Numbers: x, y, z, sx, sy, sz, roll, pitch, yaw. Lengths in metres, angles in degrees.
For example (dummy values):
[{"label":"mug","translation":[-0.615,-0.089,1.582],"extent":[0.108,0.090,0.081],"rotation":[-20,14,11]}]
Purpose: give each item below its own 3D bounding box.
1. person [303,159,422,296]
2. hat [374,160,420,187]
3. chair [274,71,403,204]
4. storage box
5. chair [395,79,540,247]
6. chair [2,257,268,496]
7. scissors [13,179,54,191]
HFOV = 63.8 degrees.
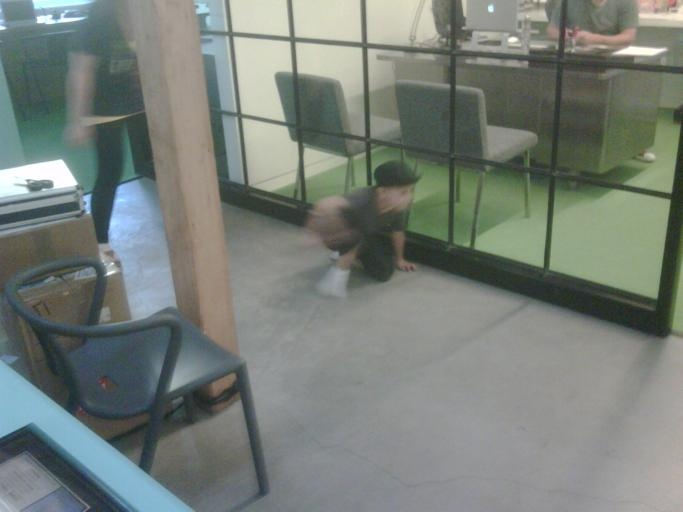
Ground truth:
[{"label":"person","translation":[0.148,-0.247,3.470],"extent":[0.697,0.799,0.497],"rotation":[-3,19,-24]},{"label":"hat","translation":[0.319,-0.476,3.230],"extent":[0.176,0.059,0.199],"rotation":[-5,35,-6]},{"label":"chair","translation":[0.003,-0.784,3.521],"extent":[0.436,0.752,0.465],"rotation":[33,54,32]},{"label":"storage box","translation":[-0.937,0.261,1.895],"extent":[0.305,0.585,0.320],"rotation":[-17,61,-17]},{"label":"chair","translation":[0.751,-0.633,3.402],"extent":[0.658,1.000,0.701],"rotation":[-23,33,-26]},{"label":"chair","translation":[-0.674,0.406,1.833],"extent":[0.505,0.659,0.424],"rotation":[-28,54,-35]},{"label":"scissors","translation":[-1.173,-0.274,2.102],"extent":[0.092,0.036,0.075],"rotation":[0,28,-13]}]
